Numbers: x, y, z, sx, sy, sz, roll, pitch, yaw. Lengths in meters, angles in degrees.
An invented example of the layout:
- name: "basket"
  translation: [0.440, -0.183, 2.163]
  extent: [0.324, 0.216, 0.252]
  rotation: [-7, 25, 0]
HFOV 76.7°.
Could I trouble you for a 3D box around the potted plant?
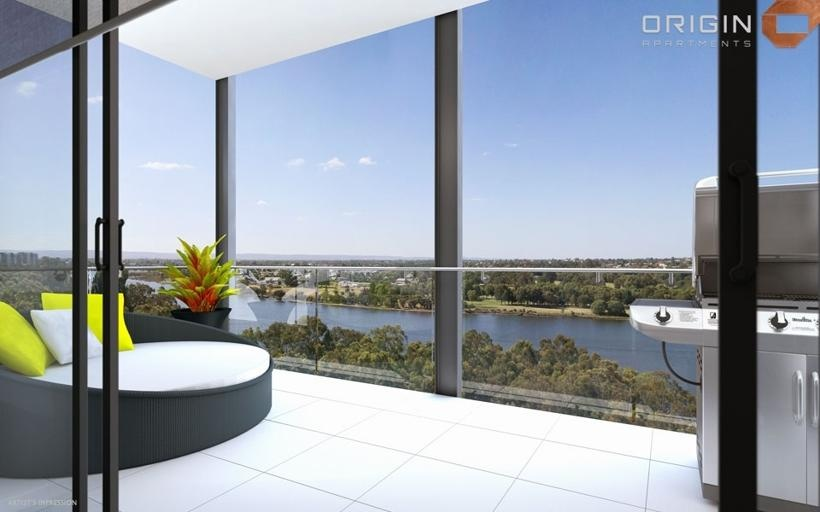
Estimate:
- name: "potted plant"
  translation: [-2.010, 0.275, 5.309]
  extent: [0.910, 0.952, 0.845]
  rotation: [-1, -6, 10]
